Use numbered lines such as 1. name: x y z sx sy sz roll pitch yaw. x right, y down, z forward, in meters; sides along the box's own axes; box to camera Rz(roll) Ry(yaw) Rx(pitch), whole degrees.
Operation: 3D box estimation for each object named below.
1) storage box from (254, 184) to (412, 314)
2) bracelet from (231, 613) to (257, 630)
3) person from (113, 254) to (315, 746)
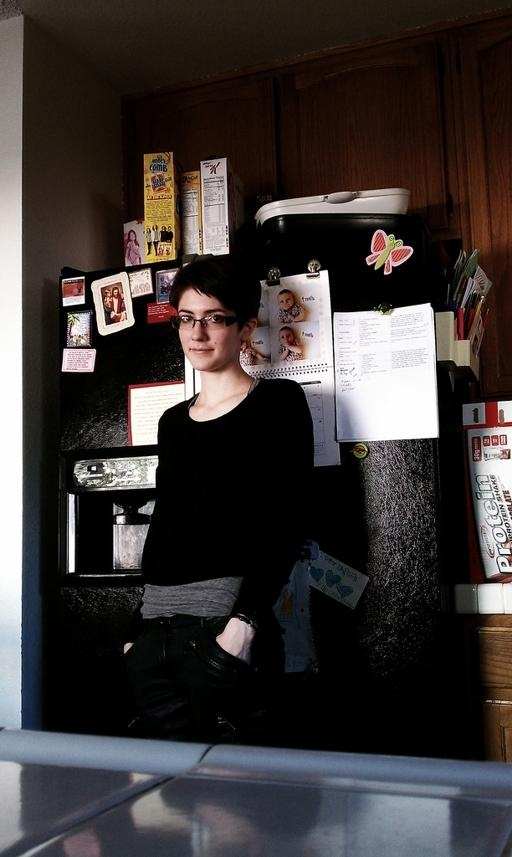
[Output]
1. storage box: 0.198 -0.485 1.816 0.366 0.144 0.308 -4 -37 11
2. bracelet: -0.019 0.421 1.523 0.033 0.011 0.035 17 -16 48
3. person: -0.099 0.133 1.726 0.466 1.198 0.206 -8 -15 29
